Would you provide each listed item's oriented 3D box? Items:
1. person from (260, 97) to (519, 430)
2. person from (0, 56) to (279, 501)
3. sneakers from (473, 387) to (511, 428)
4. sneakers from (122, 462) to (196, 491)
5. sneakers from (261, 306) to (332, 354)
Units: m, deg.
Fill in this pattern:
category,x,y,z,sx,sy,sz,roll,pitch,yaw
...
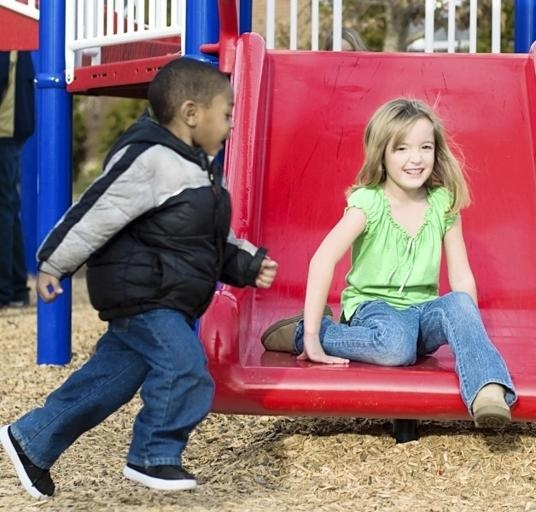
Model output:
category,x,y,z,sx,sy,sz,roll,pitch,yaw
person,0.486,-0.038,2.427,0.631,0.894,0.650,2,8,32
person,-0.348,0.051,2.185,0.759,1.186,0.355,-2,7,-6
sneakers,0.577,0.394,2.076,0.110,0.116,0.095,-1,7,2
sneakers,-0.286,0.570,2.147,0.180,0.072,0.075,-1,-6,31
sneakers,0.087,0.232,2.467,0.130,0.140,0.359,4,-1,1
